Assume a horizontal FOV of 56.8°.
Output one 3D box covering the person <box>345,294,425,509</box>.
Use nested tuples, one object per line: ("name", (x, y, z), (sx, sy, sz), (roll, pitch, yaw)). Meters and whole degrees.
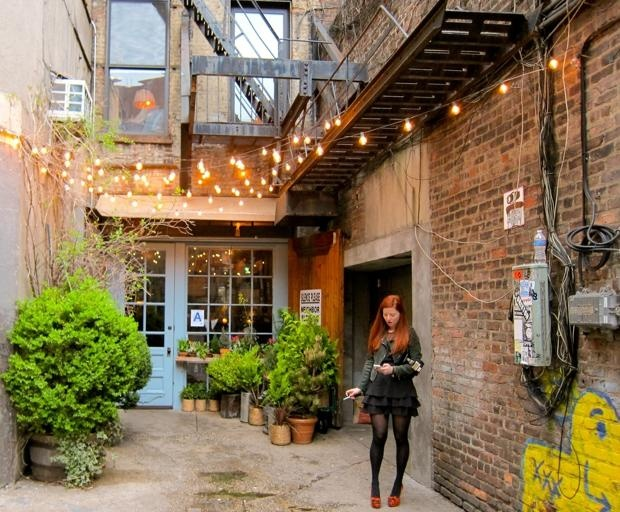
("person", (0.783, 1.405, 5.636), (0.630, 2.038, 0.435), (0, -2, 14))

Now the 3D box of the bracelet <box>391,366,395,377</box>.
("bracelet", (0.796, 1.093, 5.420), (0.045, 0.106, 0.222), (0, -4, 7))

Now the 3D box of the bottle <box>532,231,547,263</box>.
("bottle", (1.812, -0.088, 4.490), (0.081, 0.281, 0.166), (-1, -3, 33))

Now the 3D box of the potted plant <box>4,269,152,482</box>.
("potted plant", (-2.558, 1.367, 6.158), (1.204, 2.053, 0.767), (1, -2, -6))

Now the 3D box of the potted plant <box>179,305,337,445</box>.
("potted plant", (-0.464, 1.785, 8.818), (1.631, 1.516, 1.816), (2, -3, -11))
